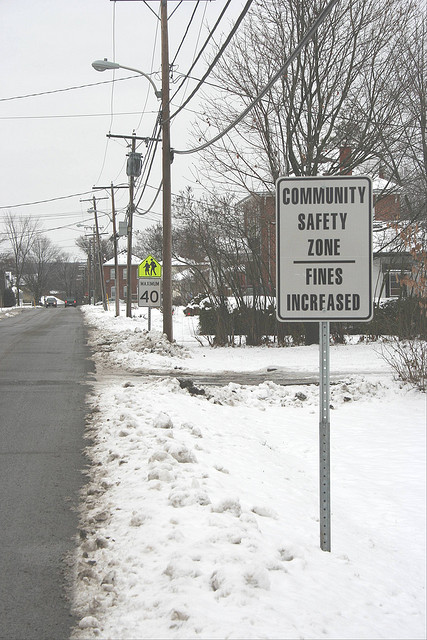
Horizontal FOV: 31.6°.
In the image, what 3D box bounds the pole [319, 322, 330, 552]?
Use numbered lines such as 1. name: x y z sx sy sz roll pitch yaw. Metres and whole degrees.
1. pole: 0.712 0.768 4.842 0.076 1.498 0.182 -1 3 8
